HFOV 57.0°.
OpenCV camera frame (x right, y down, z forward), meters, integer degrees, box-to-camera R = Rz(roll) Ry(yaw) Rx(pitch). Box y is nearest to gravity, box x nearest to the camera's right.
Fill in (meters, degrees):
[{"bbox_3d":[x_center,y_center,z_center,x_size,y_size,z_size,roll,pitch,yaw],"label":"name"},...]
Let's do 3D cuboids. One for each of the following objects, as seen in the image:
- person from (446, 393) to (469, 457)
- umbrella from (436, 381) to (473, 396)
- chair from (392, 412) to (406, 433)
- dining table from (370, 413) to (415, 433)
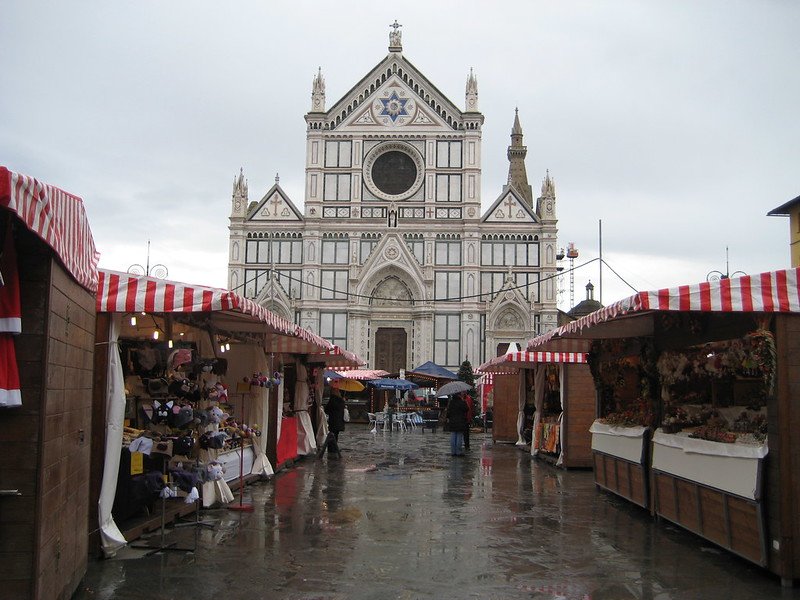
[{"bbox_3d":[1.619,3.488,20.756,0.576,1.785,1.039,0,-6,5],"label":"person"},{"bbox_3d":[1.484,2.501,21.006,0.801,0.421,1.571,1,-6,3],"label":"umbrella"},{"bbox_3d":[-0.070,5.688,34.612,0.837,1.023,0.771,-1,-17,2],"label":"chair"},{"bbox_3d":[-0.404,5.703,34.461,1.487,0.526,1.510,-3,-6,39],"label":"dining table"}]
